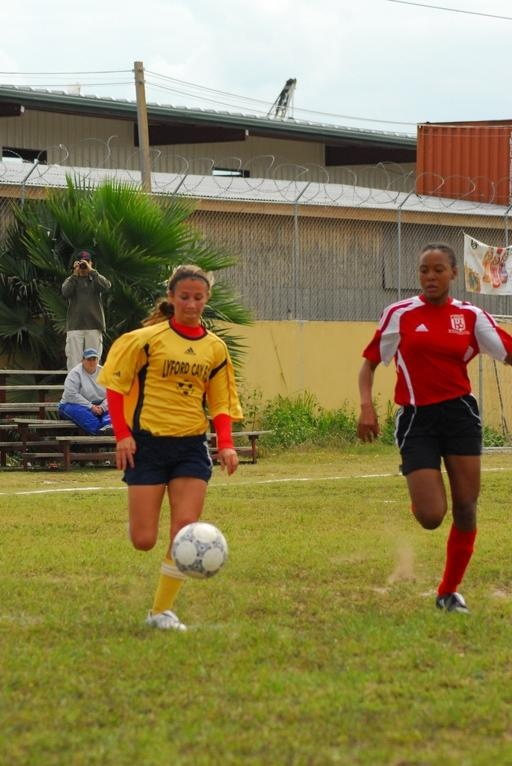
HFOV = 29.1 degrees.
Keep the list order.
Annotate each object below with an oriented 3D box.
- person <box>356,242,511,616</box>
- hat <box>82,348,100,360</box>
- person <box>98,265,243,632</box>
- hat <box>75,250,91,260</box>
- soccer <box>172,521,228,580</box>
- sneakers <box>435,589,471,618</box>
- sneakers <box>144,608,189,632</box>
[{"bbox_3d":[0.880,0.205,4.853,0.764,1.791,0.503,-1,3,4],"label":"person"},{"bbox_3d":[-1.891,-0.347,11.323,0.122,0.080,0.158,3,-7,-19],"label":"hat"},{"bbox_3d":[-0.372,0.099,4.549,0.669,1.289,0.405,-2,3,-17],"label":"person"},{"bbox_3d":[-1.994,-1.496,11.548,0.202,0.146,0.317,5,9,0],"label":"hat"},{"bbox_3d":[-0.246,0.709,4.260,0.249,0.234,0.229,8,-4,-14],"label":"soccer"},{"bbox_3d":[0.940,1.075,4.781,0.145,0.079,0.120,-2,2,17],"label":"sneakers"},{"bbox_3d":[-0.410,1.072,4.439,0.159,0.064,0.082,-4,-5,33],"label":"sneakers"}]
